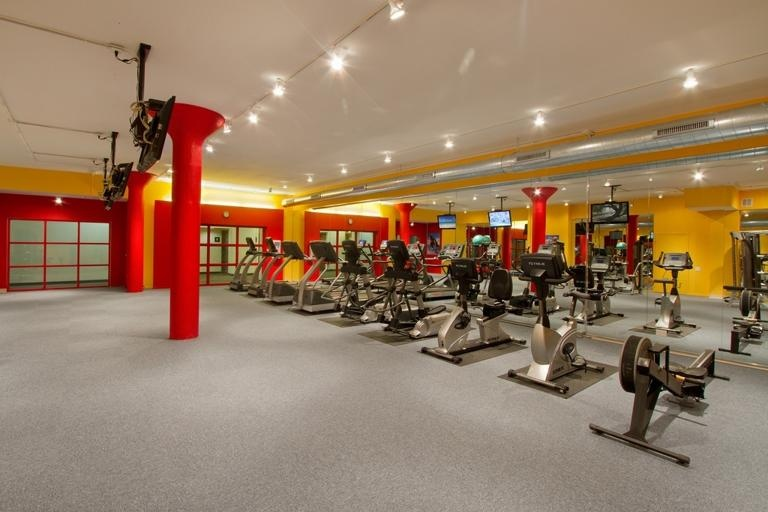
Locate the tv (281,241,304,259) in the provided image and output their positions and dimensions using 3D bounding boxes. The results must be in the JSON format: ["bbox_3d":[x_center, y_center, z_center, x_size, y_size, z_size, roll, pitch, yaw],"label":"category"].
[{"bbox_3d":[-2.219,-0.154,11.211,0.471,0.404,0.658,2,-6,26],"label":"tv"}]

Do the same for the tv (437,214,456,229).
[{"bbox_3d":[1.998,-1.088,14.041,0.203,0.477,0.764,-1,1,-37],"label":"tv"}]

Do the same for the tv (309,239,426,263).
[{"bbox_3d":[-0.356,-0.132,10.316,2.473,0.432,4.594,-1,1,4],"label":"tv"}]

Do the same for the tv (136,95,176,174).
[{"bbox_3d":[-3.252,-1.890,6.344,0.463,0.867,1.674,-1,1,-29],"label":"tv"}]

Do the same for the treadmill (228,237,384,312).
[{"bbox_3d":[-1.252,0.564,11.484,2.767,1.126,3.007,-3,4,-40],"label":"treadmill"}]
